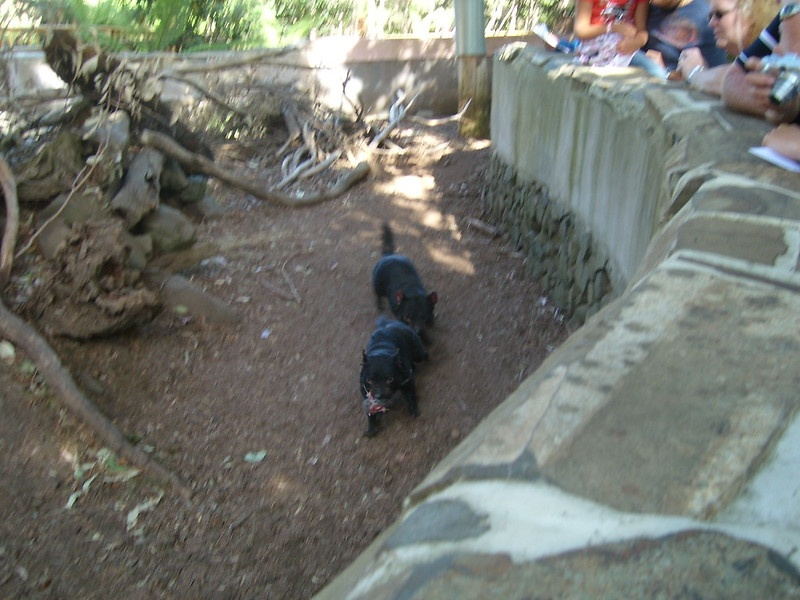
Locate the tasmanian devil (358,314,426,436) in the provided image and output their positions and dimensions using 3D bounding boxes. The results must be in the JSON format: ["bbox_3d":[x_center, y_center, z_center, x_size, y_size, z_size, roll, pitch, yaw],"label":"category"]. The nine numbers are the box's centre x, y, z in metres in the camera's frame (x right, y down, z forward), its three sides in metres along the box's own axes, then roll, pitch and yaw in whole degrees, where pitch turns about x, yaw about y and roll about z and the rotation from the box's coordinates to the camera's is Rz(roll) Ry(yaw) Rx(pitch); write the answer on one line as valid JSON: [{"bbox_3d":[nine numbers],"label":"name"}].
[{"bbox_3d":[-0.055,0.458,4.558,0.296,0.561,0.964,-6,33,8],"label":"tasmanian devil"}]

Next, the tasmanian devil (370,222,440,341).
[{"bbox_3d":[0.000,-0.114,5.570,0.375,0.687,1.341,-4,36,-17],"label":"tasmanian devil"}]
